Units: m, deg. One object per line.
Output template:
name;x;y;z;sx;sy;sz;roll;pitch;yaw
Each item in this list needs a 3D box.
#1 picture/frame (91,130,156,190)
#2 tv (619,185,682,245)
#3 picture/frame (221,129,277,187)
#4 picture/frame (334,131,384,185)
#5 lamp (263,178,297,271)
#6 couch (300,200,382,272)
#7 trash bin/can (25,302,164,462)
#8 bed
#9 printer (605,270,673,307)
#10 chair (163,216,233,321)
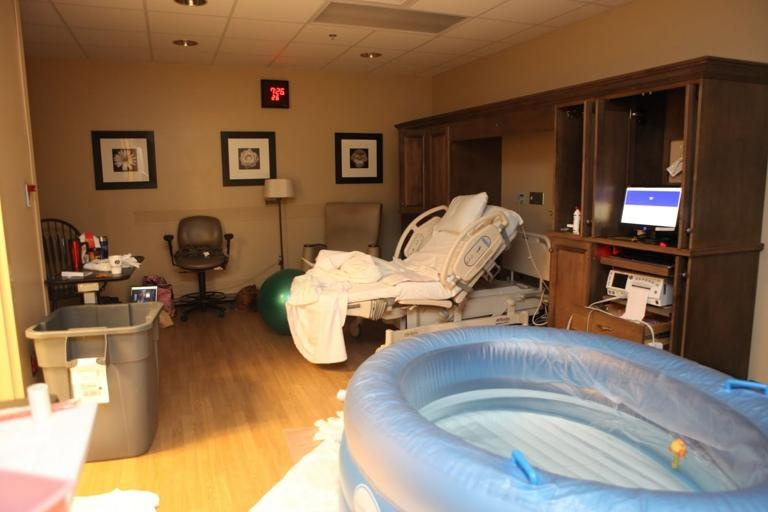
picture/frame;-3.242;-1.212;6.409;0.757;0.743;0.055;-2;7;-14
tv;2.082;-0.325;4.045;0.221;0.346;0.483;-3;5;-18
picture/frame;-1.817;-1.317;6.854;0.793;0.779;0.064;-3;9;-18
picture/frame;-0.396;-1.424;7.371;0.808;0.791;0.055;-1;11;-23
lamp;-1.373;-0.325;6.910;0.380;1.388;0.371;-5;8;-24
couch;-0.423;-0.256;7.349;1.095;1.464;0.901;1;0;6
trash bin/can;-1.984;0.879;3.709;0.757;0.984;0.580;-2;10;-14
bed;0.192;0.139;5.226;2.230;1.471;1.368;-5;10;-19
printer;2.002;0.246;4.103;0.130;0.229;0.512;-5;10;-27
chair;-2.279;0.102;6.474;0.787;1.193;0.861;-4;10;-23
